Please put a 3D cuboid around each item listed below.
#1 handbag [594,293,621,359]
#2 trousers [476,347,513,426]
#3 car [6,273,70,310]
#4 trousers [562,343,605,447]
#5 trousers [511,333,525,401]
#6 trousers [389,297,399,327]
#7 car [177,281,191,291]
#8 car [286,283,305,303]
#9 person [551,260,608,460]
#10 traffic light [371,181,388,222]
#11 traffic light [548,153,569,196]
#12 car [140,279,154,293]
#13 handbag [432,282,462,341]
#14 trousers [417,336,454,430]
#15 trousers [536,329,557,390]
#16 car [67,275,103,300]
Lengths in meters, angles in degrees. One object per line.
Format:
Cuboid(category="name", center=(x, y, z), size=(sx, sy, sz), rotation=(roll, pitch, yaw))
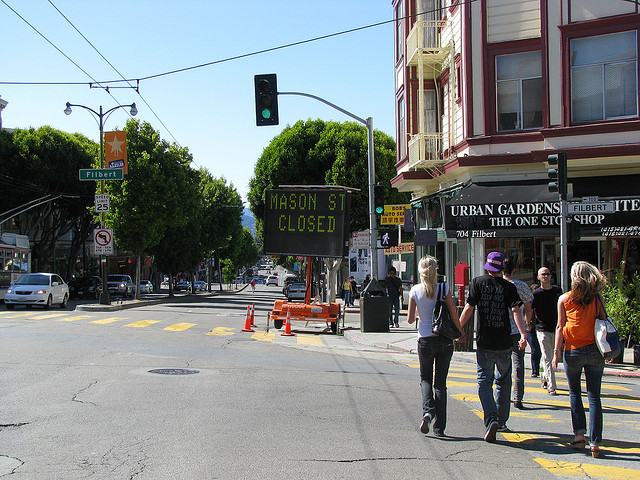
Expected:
Cuboid(category="handbag", center=(3.780, 1.283, 8.229), size=(0.291, 0.519, 0.212), rotation=(0, -6, 20))
Cuboid(category="trousers", center=(2.441, 2.028, 8.747), size=(0.364, 1.074, 0.630), rotation=(-4, -8, 43))
Cuboid(category="car", center=(-14.365, 2.540, 31.463), size=(2.194, 1.832, 2.745), rotation=(3, -7, -12))
Cuboid(category="trousers", center=(3.503, 2.022, 8.271), size=(0.500, 1.349, 0.440), rotation=(-1, -6, 26))
Cuboid(category="trousers", center=(3.302, 2.087, 10.419), size=(0.166, 1.104, 0.785), rotation=(0, -6, 17))
Cuboid(category="trousers", center=(2.869, 2.721, 24.180), size=(0.369, 1.093, 1.415), rotation=(1, -7, 7))
Cuboid(category="car", center=(-16.655, 5.503, 76.232), size=(1.421, 0.901, 2.575), rotation=(4, -7, -13))
Cuboid(category="car", center=(-1.623, 3.597, 42.852), size=(1.450, 1.380, 3.449), rotation=(0, 3, -2))
Cuboid(category="person", center=(3.498, 1.526, 8.320), size=(0.613, 2.494, 0.550), rotation=(-1, -6, 26))
Cuboid(category="traffic light", center=(2.137, -1.104, 21.937), size=(0.763, 0.672, 1.514), rotation=(-6, 21, 6))
Cuboid(category="traffic light", center=(5.616, -1.550, 14.722), size=(0.390, 1.128, 0.889), rotation=(-1, -7, 21))
Cuboid(category="car", center=(-19.017, 5.024, 68.397), size=(0.972, 0.929, 1.787), rotation=(-2, -10, 0))
Cuboid(category="handbag", center=(1.712, 0.988, 8.633), size=(0.373, 0.732, 0.192), rotation=(-1, 20, 38))
Cuboid(category="trousers", center=(1.614, 1.952, 8.694), size=(0.470, 1.255, 0.377), rotation=(1, -6, 3))
Cuboid(category="trousers", center=(4.240, 2.217, 11.718), size=(0.315, 1.084, 0.648), rotation=(-1, -6, 21))
Cuboid(category="car", center=(-18.014, 3.609, 48.223), size=(2.100, 1.659, 1.484), rotation=(-1, -7, 22))
